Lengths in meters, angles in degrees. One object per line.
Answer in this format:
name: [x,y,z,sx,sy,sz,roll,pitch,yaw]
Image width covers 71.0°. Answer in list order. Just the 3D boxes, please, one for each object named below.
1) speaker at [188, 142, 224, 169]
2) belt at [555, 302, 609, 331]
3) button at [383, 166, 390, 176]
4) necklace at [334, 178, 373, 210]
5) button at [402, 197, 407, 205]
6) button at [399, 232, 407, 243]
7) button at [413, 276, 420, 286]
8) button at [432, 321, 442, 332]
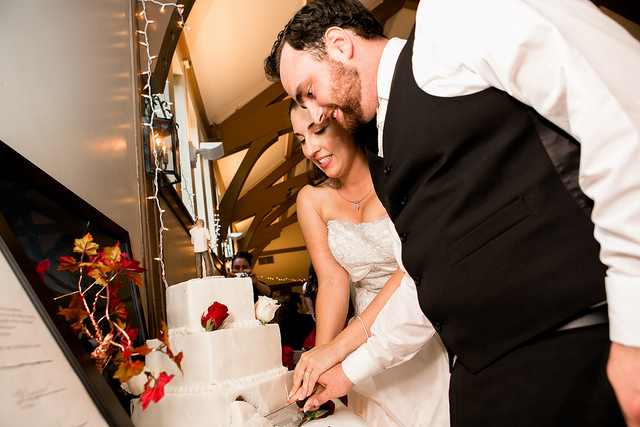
speaker: [-1.201,-0.623,4.699,0.413,0.273,0.216,-3,22,-12]
belt: [0.687,0.256,1.171,0.081,0.077,0.082,2,-2,-3]
button: [0.208,-0.133,1.392,0.005,0.021,0.018,-1,24,-41]
necklace: [0.180,-0.100,2.303,0.138,0.146,0.012,-6,0,3]
button: [0.257,-0.037,1.368,0.014,0.018,0.025,-18,0,-1]
button: [0.256,0.073,1.375,0.016,0.024,0.008,27,30,36]
button: [0.297,0.206,1.379,0.006,0.024,0.022,-1,12,-14]
button: [0.361,0.346,1.392,0.009,0.028,0.028,-20,-16,-18]
